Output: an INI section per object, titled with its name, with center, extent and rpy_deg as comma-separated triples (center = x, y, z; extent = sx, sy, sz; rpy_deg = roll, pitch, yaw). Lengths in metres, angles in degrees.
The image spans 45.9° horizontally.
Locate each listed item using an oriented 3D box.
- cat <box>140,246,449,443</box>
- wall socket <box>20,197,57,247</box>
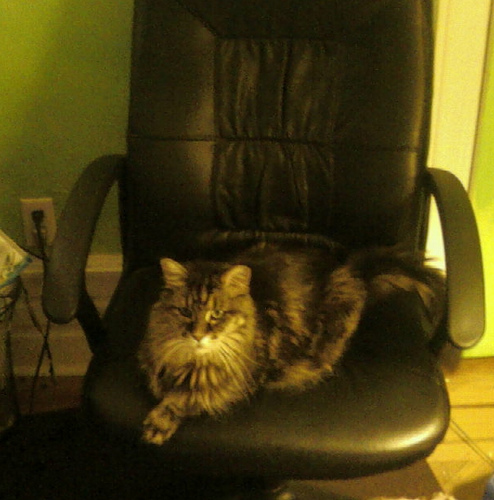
[cat]
center = 0.085, 0.130, 0.977
extent = 0.557, 0.197, 0.254
rpy_deg = -3, 21, -19
[wall socket]
center = -0.510, -0.065, 1.433
extent = 0.088, 0.129, 0.015
rpy_deg = -3, 6, 10
